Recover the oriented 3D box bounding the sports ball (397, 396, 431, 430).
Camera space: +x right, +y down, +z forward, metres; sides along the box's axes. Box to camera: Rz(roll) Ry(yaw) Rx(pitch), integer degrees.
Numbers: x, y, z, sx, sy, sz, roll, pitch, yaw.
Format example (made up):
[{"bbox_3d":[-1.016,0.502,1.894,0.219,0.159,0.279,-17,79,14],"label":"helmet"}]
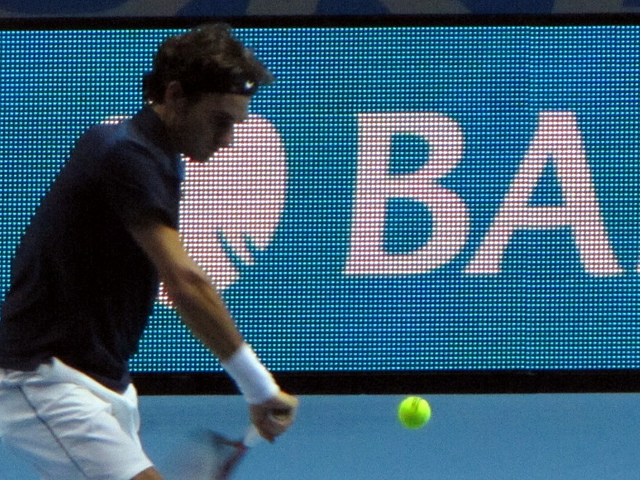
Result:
[{"bbox_3d":[0.393,0.709,4.231,0.143,0.145,0.140,4,0,0],"label":"sports ball"}]
